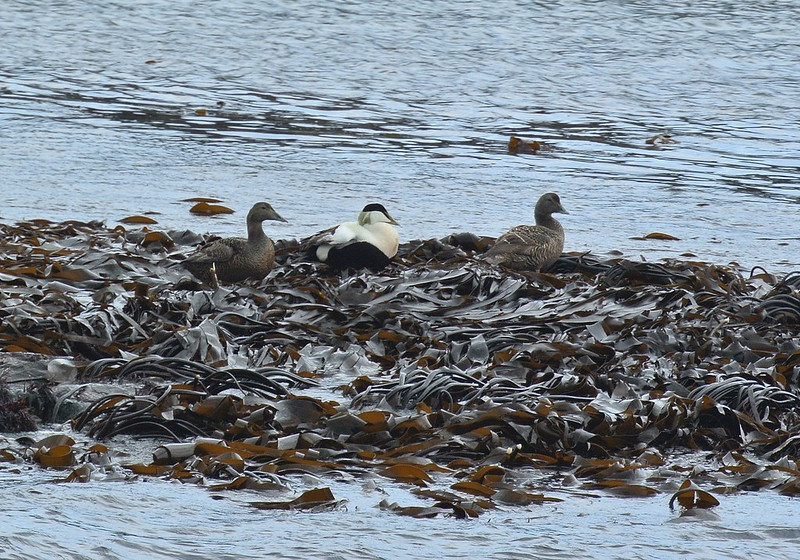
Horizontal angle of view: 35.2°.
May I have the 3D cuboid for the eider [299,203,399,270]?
[{"bbox_3d":[-0.330,-0.371,11.110,0.587,0.552,0.604,17,21,35],"label":"eider"}]
